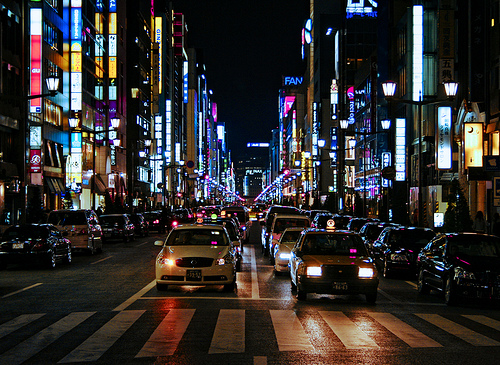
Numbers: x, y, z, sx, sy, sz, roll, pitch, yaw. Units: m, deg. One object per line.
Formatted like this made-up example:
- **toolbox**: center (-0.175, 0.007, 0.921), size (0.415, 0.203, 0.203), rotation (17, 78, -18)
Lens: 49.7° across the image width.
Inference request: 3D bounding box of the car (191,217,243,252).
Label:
- **car**: center (-1.189, 1.851, 19.170), size (1.556, 1.248, 2.722), rotation (1, -9, 1)

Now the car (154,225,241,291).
- **car**: center (-1.570, 2.245, 16.428), size (2.264, 1.971, 2.319), rotation (-1, -6, 2)

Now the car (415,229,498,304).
- **car**: center (5.815, 2.362, 15.343), size (1.220, 1.031, 3.034), rotation (1, -7, -4)

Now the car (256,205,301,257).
- **car**: center (1.470, 2.448, 30.738), size (1.949, 1.845, 3.483), rotation (0, -6, -3)

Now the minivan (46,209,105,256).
- **minivan**: center (-9.504, 2.674, 29.384), size (2.307, 2.228, 5.205), rotation (0, -3, -7)

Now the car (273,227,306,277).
- **car**: center (1.702, 2.252, 20.827), size (1.070, 1.167, 2.641), rotation (-2, 15, 11)

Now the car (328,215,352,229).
- **car**: center (5.291, 2.225, 31.612), size (1.085, 1.123, 1.989), rotation (1, -9, 0)
